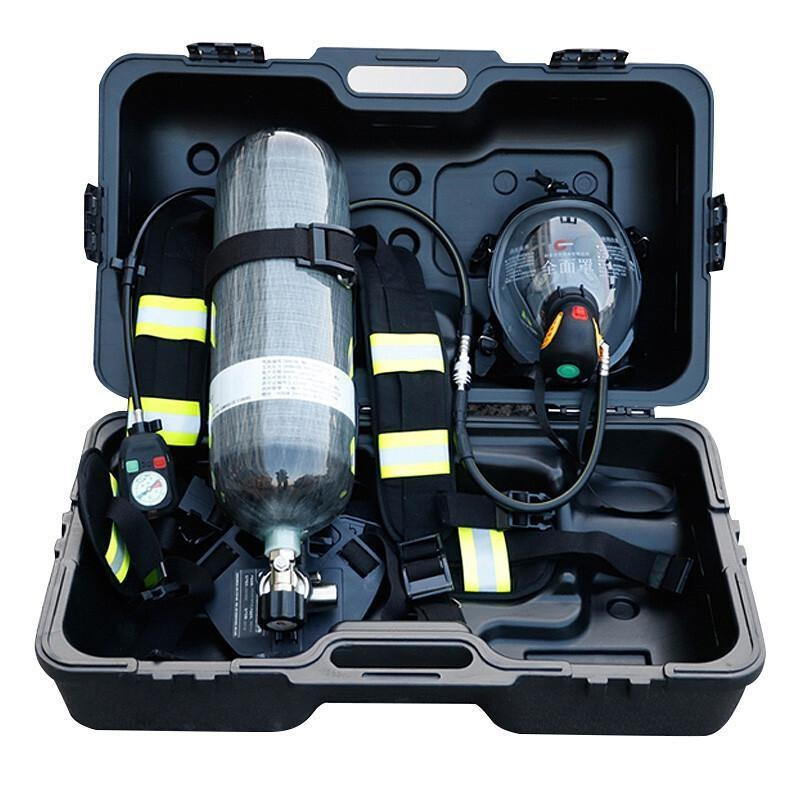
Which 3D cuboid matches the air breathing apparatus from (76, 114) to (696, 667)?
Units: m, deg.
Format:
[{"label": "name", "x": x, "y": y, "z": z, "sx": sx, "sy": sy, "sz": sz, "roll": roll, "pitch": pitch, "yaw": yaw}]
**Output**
[{"label": "air breathing apparatus", "x": -0.042, "y": 0.011, "z": 2.458, "sx": 1.258, "sy": 1.017, "sz": 0.294, "roll": -1, "pitch": -22, "yaw": -5}]
